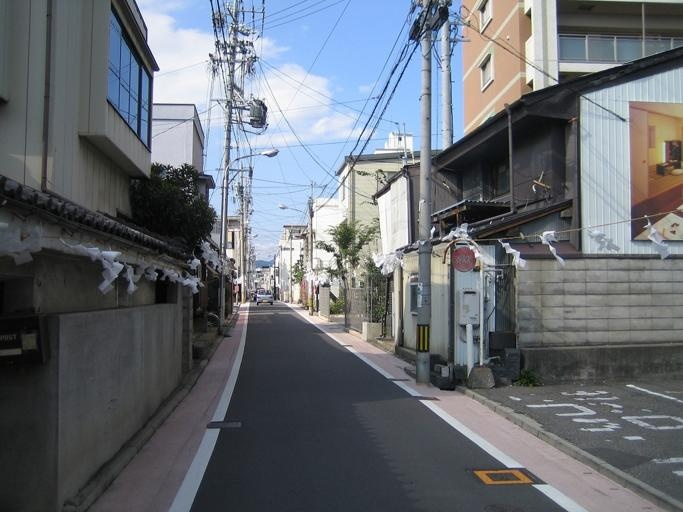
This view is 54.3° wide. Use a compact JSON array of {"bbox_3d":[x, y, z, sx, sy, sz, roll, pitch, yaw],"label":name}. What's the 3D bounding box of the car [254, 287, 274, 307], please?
[{"bbox_3d":[-7.252,3.980,62.873,1.119,1.231,2.962,1,4,-5],"label":"car"}]
